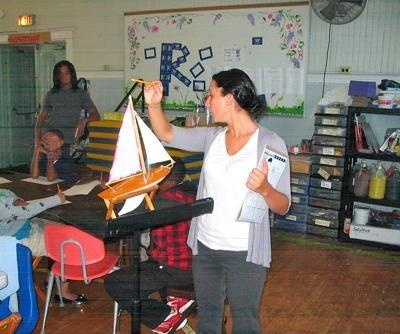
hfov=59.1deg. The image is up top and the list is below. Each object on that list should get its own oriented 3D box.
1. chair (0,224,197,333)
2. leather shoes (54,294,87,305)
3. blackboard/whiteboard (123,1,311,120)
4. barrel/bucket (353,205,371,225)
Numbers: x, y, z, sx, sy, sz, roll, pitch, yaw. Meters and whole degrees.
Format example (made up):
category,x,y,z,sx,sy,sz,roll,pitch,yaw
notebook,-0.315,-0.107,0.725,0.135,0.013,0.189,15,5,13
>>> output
category,x,y,z,sx,sy,sz,roll,pitch,yaw
chair,-0.480,0.444,1.810,0.448,0.696,0.509,3,29,7
leather shoes,-0.705,0.731,1.943,0.124,0.033,0.073,1,0,6
blackboard/whiteboard,0.218,-0.903,2.798,1.410,0.851,0.030,4,9,23
barrel/bucket,1.287,0.384,2.828,0.127,0.125,0.129,0,2,0
